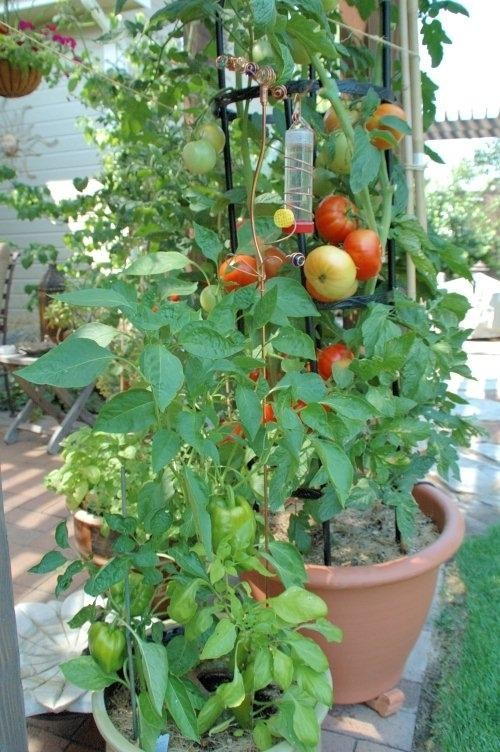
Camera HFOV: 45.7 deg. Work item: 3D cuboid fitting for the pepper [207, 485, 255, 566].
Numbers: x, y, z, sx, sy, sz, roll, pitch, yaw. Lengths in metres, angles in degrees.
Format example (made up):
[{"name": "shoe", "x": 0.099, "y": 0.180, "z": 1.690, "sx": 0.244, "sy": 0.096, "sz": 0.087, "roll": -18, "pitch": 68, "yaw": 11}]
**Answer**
[{"name": "pepper", "x": -0.029, "y": 0.198, "z": 0.785, "sx": 0.051, "sy": 0.094, "sz": 0.060, "roll": -7, "pitch": 11, "yaw": -31}]
